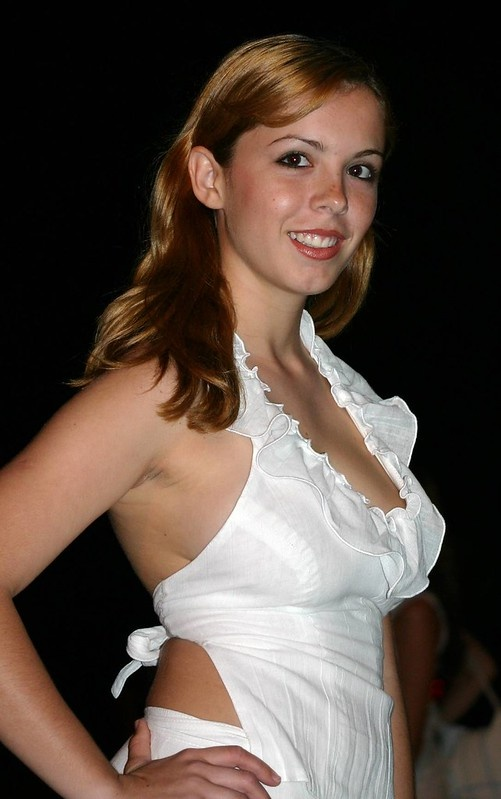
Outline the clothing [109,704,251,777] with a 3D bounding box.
[{"bbox_3d":[-0.094,0.481,1.083,0.124,0.085,0.157,10,-37,-36],"label":"clothing"}]
